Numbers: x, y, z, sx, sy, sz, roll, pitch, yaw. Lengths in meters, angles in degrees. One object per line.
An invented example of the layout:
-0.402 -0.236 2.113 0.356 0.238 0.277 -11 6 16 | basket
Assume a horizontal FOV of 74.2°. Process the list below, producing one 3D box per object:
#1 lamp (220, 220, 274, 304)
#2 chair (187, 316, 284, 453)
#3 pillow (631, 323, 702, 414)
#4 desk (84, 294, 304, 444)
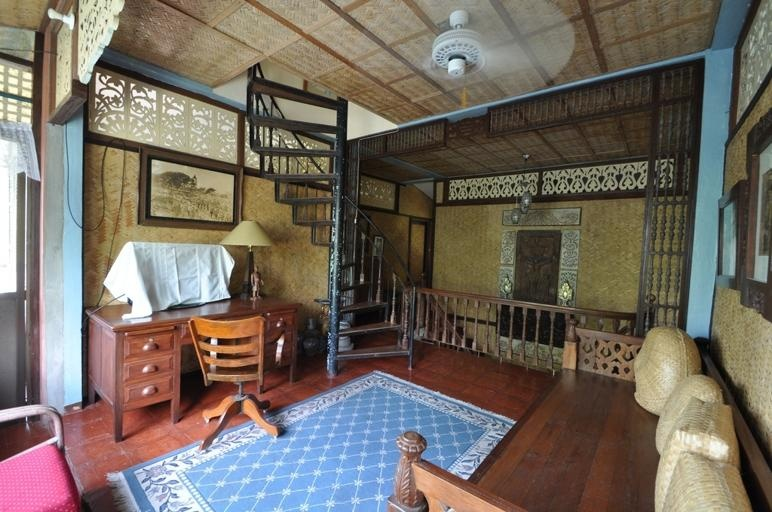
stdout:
-1.664 0.050 6.259 0.659 0.944 0.710 4 3 41 | lamp
-1.518 1.194 5.266 0.905 1.203 1.016 -2 2 -11 | chair
2.480 1.022 4.505 0.303 0.550 0.569 18 23 9 | pillow
-2.238 0.665 5.355 1.215 1.114 2.353 5 7 43 | desk
